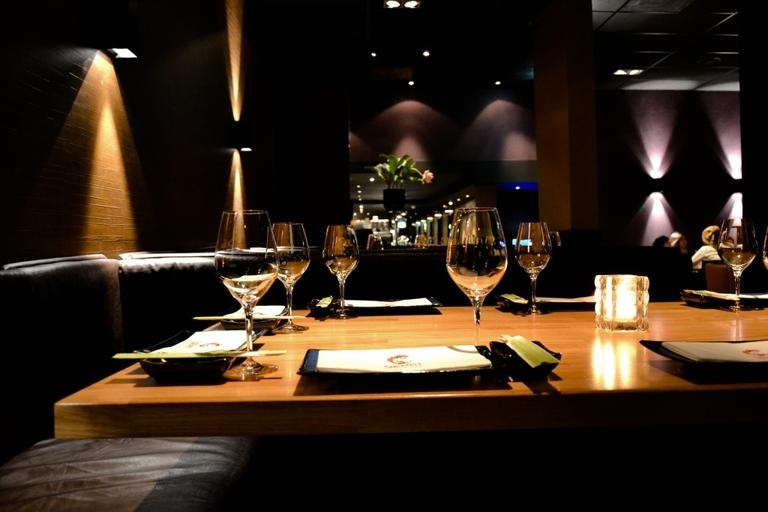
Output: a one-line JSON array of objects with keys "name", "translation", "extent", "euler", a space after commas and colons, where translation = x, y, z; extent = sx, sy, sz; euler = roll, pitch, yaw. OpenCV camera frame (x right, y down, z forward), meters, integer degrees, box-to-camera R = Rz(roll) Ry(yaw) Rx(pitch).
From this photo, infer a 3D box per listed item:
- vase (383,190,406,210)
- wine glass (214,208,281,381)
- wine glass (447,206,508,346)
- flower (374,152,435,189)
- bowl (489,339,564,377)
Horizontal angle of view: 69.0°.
[{"name": "vase", "translation": [0.096, -0.532, 5.347], "extent": [0.201, 0.169, 0.197], "euler": [0, 4, -10]}, {"name": "wine glass", "translation": [-0.415, 0.093, 1.708], "extent": [0.183, 0.453, 0.386], "euler": [-4, 11, -11]}, {"name": "wine glass", "translation": [0.278, 0.060, 1.679], "extent": [0.169, 0.401, 0.125], "euler": [0, 11, 11]}, {"name": "flower", "translation": [0.198, -0.841, 5.568], "extent": [0.407, 0.323, 0.602], "euler": [1, 11, 17]}, {"name": "bowl", "translation": [0.392, 0.291, 1.592], "extent": [0.183, 0.077, 0.147], "euler": [0, 10, 10]}]
